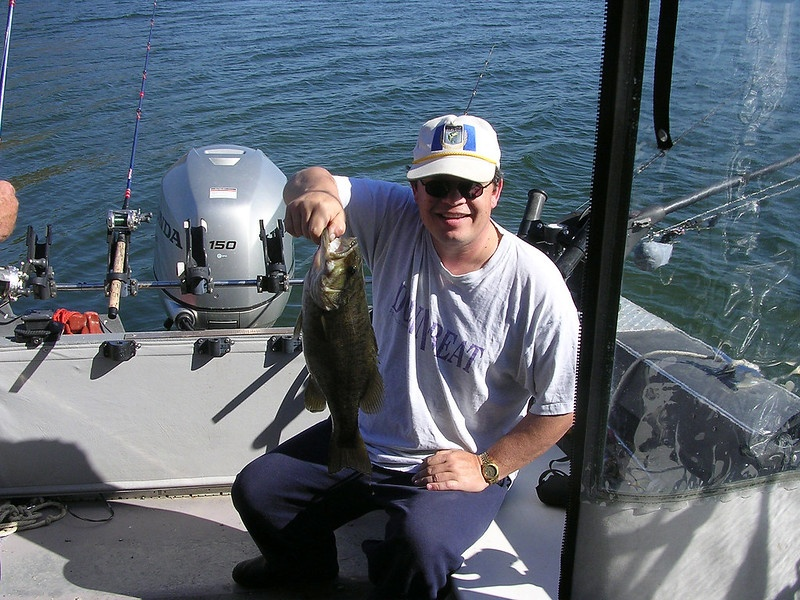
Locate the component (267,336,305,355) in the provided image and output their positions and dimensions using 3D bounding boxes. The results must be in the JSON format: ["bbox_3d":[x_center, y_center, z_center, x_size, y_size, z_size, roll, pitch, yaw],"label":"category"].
[{"bbox_3d":[-0.609,0.246,4.296,0.167,0.086,0.231,-1,3,-28],"label":"component"}]

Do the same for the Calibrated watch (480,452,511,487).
[{"bbox_3d":[0.401,0.754,3.531,0.087,0.139,0.133,-33,3,0],"label":"Calibrated watch"}]

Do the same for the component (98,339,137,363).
[{"bbox_3d":[-1.521,0.265,4.211,0.157,0.072,0.116,2,10,3],"label":"component"}]

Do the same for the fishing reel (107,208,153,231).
[{"bbox_3d":[-1.601,-0.470,4.612,0.206,0.085,0.148,-2,6,-10],"label":"fishing reel"}]

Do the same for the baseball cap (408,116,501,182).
[{"bbox_3d":[0.224,-0.643,3.442,0.378,0.257,0.238,-1,15,1],"label":"baseball cap"}]

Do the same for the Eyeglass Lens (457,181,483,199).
[{"bbox_3d":[0.305,-0.472,3.388,0.077,0.033,0.076,1,28,-1],"label":"Eyeglass Lens"}]

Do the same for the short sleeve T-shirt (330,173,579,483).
[{"bbox_3d":[0.202,0.270,3.851,1.399,1.205,0.704,23,30,31],"label":"short sleeve T-shirt"}]

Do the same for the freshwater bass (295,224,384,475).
[{"bbox_3d":[-0.226,0.257,3.135,0.279,1.105,0.350,1,15,7],"label":"freshwater bass"}]
